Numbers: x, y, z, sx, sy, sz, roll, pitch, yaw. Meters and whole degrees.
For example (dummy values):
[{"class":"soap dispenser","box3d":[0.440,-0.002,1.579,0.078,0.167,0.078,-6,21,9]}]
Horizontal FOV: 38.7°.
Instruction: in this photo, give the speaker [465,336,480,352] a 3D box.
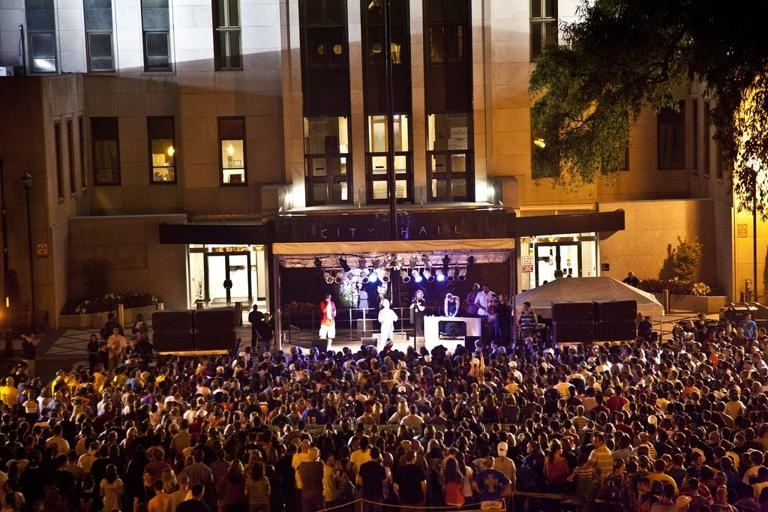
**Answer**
[{"class":"speaker","box3d":[3.051,3.029,37.597,0.631,0.343,0.337,-1,-5,-43]}]

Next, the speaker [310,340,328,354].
[{"class":"speaker","box3d":[-2.178,3.034,37.289,0.485,0.346,0.473,4,-5,-2]}]

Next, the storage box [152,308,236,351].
[{"class":"storage box","box3d":[-6.289,2.475,37.422,2.677,1.294,1.374,1,4,-3]}]

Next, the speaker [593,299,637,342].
[{"class":"speaker","box3d":[7.682,2.119,36.541,1.362,1.324,1.338,-1,-1,0]}]

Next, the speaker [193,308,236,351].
[{"class":"speaker","box3d":[-5.630,2.374,37.536,1.637,1.472,1.653,0,9,-5]}]
